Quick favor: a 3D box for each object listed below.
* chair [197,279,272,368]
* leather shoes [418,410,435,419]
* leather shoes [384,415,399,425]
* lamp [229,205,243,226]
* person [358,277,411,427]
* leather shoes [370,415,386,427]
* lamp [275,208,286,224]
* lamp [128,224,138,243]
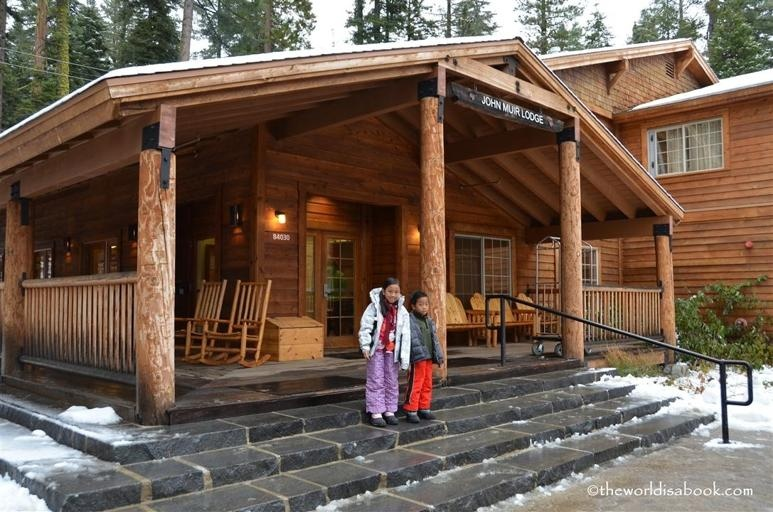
[{"bbox_3d":[-2.678,1.187,10.560,0.992,1.454,1.572,4,-6,-41],"label":"chair"},{"bbox_3d":[0.531,2.121,7.860,0.215,0.086,0.111,-3,-2,27],"label":"leather shoes"},{"bbox_3d":[0.081,2.127,7.598,0.090,0.067,0.180,2,-7,-24],"label":"leather shoes"},{"bbox_3d":[-2.823,-0.772,11.065,0.293,0.404,0.102,-4,-6,45],"label":"lamp"},{"bbox_3d":[-0.011,1.242,7.557,0.687,1.884,0.362,1,-5,-10],"label":"person"},{"bbox_3d":[-0.113,2.132,7.560,0.106,0.067,0.183,3,-11,-30],"label":"leather shoes"},{"bbox_3d":[-1.970,-0.730,11.023,0.086,0.252,0.280,-4,-5,37],"label":"lamp"},{"bbox_3d":[-5.808,-0.540,13.451,0.093,0.418,0.340,4,-6,-41],"label":"lamp"}]
